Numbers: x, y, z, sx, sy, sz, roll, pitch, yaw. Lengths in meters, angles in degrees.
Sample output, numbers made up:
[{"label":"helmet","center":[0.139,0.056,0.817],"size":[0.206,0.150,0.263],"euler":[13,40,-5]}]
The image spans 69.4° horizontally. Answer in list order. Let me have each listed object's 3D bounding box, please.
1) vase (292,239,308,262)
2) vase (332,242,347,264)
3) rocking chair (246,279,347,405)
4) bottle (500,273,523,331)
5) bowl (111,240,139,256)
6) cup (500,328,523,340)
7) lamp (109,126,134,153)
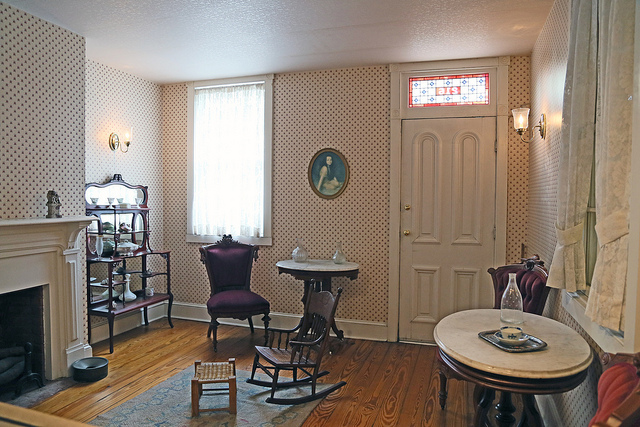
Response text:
[{"label":"vase","center":[-0.256,0.487,6.145],"size":[0.240,0.331,0.240],"euler":[0,-1,-14]},{"label":"vase","center":[0.198,0.498,5.890],"size":[0.215,0.305,0.212],"euler":[-1,3,-43]},{"label":"rocking chair","center":[-0.234,1.294,4.659],"size":[0.884,1.100,0.610],"euler":[1,2,-22]},{"label":"bottle","center":[1.480,0.673,3.546],"size":[0.148,0.430,0.226],"euler":[4,11,20]},{"label":"bowl","center":[-2.475,0.431,5.876],"size":[0.320,0.176,0.180],"euler":[-9,14,-42]},{"label":"cup","center":[1.427,0.873,3.429],"size":[0.095,0.055,0.096],"euler":[1,-2,0]},{"label":"lamp","center":[-2.669,-0.986,6.224],"size":[0.258,0.372,0.246],"euler":[-2,6,0]}]
